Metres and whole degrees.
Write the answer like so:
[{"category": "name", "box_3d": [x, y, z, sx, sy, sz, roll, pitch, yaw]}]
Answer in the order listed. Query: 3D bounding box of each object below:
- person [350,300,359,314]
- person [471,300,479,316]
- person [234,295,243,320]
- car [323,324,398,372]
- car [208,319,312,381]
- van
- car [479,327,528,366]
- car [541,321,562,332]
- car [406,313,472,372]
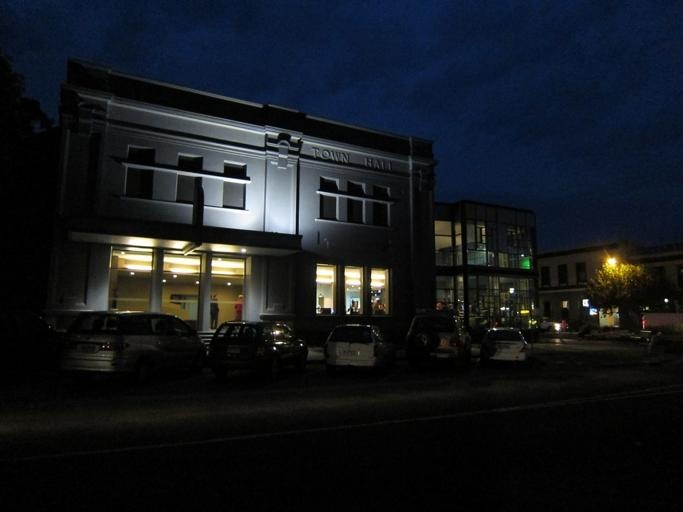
[{"category": "person", "box_3d": [0.647, 2.463, 28.267, 0.227, 0.639, 0.709, 3, 3, 42]}, {"category": "person", "box_3d": [9.521, 3.664, 41.098, 0.520, 1.019, 0.312, 2, 2, 14]}, {"category": "person", "box_3d": [-4.486, 2.214, 25.374, 0.338, 1.035, 0.678, 1, 2, -13]}, {"category": "car", "box_3d": [0.538, 2.955, 18.692, 2.089, 1.402, 1.144, 1, 2, -2]}, {"category": "car", "box_3d": [-2.385, 2.820, 18.166, 1.420, 1.265, 3.213, -4, -5, 26]}, {"category": "van", "box_3d": [-5.837, 2.593, 16.696, 1.994, 1.556, 3.567, -2, -3, 31]}, {"category": "car", "box_3d": [6.092, 3.456, 21.700, 1.700, 1.222, 1.233, 2, 2, 14]}, {"category": "car", "box_3d": [18.220, 6.021, 50.410, 1.377, 0.715, 2.536, 0, 2, -20]}, {"category": "car", "box_3d": [3.304, 2.907, 20.033, 1.419, 1.382, 2.415, -1, -1, 14]}]
